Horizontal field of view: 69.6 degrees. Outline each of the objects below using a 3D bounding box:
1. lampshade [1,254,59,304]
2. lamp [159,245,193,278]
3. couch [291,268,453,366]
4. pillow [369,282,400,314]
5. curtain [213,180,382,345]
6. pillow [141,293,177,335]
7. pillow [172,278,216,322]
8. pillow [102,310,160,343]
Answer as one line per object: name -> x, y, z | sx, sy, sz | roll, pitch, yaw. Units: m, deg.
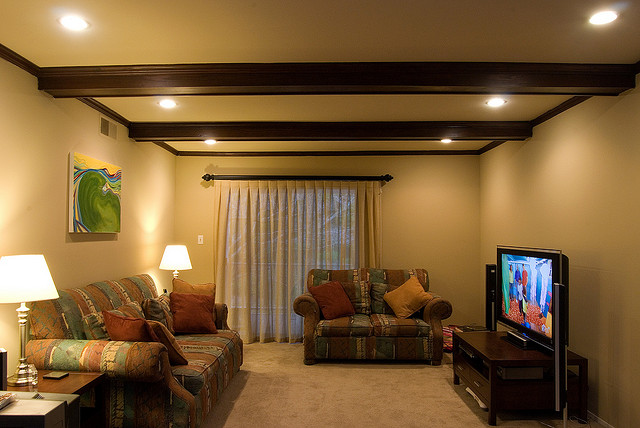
lampshade -> -2.521, 0.543, 4.042 | 0.431, 0.397, 0.421 | -2, -3, -30
lamp -> -1.987, 0.664, 6.296 | 0.501, 0.488, 0.461 | 4, 12, -7
couch -> 0.661, 1.386, 6.397 | 2.041, 1.104, 1.077 | 0, 1, -1
pillow -> 0.835, 1.202, 6.451 | 0.386, 0.374, 0.153 | 3, -27, 3
curtain -> -0.462, 0.678, 7.002 | 2.753, 2.527, 0.201 | 0, -7, 16
pillow -> -1.701, 1.068, 4.829 | 0.128, 0.269, 0.465 | -17, -5, 0
pillow -> -1.581, 1.145, 5.921 | 0.645, 0.543, 0.227 | -7, 13, 18
pillow -> -1.731, 1.032, 4.169 | 0.525, 0.252, 0.159 | 3, 8, 20
